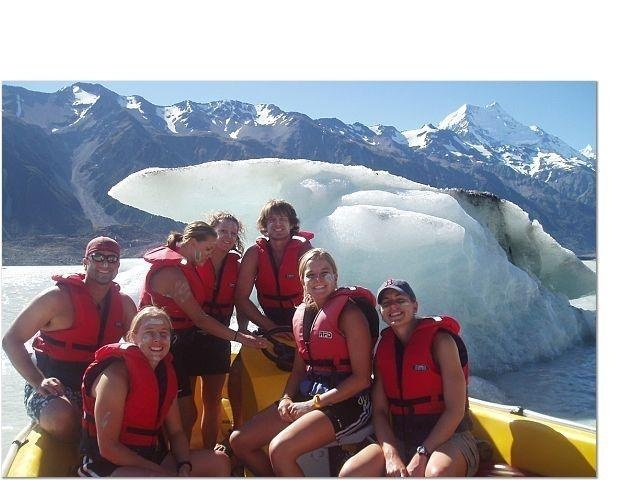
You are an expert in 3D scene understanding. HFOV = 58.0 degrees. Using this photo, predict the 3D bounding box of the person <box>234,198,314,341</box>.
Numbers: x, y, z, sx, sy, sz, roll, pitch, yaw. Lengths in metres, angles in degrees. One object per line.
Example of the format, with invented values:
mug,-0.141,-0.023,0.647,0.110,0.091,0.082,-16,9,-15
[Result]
person,-0.435,0.648,6.159,0.960,2.045,0.873,-5,18,-8

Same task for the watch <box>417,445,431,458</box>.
watch,0.824,1.674,4.521,0.089,0.072,0.049,22,-36,33

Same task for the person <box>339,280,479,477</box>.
person,0.812,1.129,4.731,1.005,1.557,0.595,2,-2,15

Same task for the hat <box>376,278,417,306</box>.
hat,0.579,0.460,4.995,0.305,0.211,0.486,-2,-11,19

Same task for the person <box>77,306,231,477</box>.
person,-1.410,1.272,4.767,1.029,1.047,0.470,3,-2,-28

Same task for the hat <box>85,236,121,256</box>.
hat,-2.043,0.055,5.405,0.230,0.134,0.226,6,-3,-43

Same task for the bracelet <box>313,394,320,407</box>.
bracelet,-0.031,1.356,4.784,0.069,0.099,0.096,3,-5,10
